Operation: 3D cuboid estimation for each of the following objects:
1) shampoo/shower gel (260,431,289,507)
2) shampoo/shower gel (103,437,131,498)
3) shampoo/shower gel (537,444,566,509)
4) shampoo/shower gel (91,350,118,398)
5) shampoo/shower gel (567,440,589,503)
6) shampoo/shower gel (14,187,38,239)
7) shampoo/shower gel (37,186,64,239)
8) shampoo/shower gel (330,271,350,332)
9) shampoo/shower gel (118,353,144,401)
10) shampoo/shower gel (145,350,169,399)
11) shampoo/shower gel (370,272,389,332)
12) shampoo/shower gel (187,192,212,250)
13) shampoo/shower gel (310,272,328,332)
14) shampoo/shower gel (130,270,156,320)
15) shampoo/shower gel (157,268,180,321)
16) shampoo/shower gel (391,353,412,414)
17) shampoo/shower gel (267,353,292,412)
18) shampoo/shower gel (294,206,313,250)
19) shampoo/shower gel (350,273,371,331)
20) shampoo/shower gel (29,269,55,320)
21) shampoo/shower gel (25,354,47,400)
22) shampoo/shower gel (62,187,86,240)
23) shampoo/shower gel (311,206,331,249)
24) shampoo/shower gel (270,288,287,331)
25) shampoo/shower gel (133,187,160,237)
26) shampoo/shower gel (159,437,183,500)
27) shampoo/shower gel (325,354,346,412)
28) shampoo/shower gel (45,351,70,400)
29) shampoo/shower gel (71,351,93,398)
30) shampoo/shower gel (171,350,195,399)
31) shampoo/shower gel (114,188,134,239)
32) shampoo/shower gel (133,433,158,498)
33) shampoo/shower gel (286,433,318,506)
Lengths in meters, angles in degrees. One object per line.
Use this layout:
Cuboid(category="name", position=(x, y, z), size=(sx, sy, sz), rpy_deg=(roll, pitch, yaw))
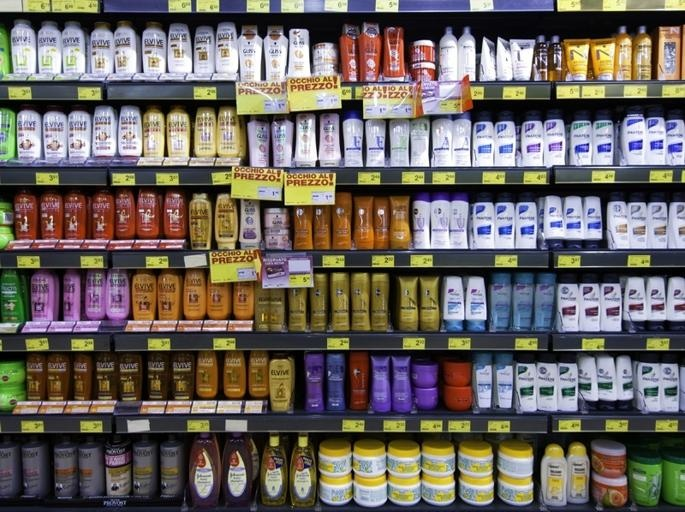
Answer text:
Cuboid(category="shampoo/shower gel", position=(-0.409, 1.249, 4.081), size=(0.191, 0.429, 0.151), rpy_deg=(-5, 6, -19))
Cuboid(category="shampoo/shower gel", position=(-1.343, 1.254, 4.094), size=(0.162, 0.351, 0.105), rpy_deg=(-5, 6, -17))
Cuboid(category="shampoo/shower gel", position=(1.251, 1.300, 4.074), size=(0.148, 0.353, 0.090), rpy_deg=(-2, 6, 12))
Cuboid(category="shampoo/shower gel", position=(-1.430, 0.717, 4.121), size=(0.153, 0.283, 0.070), rpy_deg=(-4, 6, -11))
Cuboid(category="shampoo/shower gel", position=(1.412, 1.291, 4.099), size=(0.135, 0.356, 0.095), rpy_deg=(-2, 6, 13))
Cuboid(category="shampoo/shower gel", position=(-1.919, -0.251, 4.124), size=(0.143, 0.302, 0.065), rpy_deg=(-3, 6, 2))
Cuboid(category="shampoo/shower gel", position=(-1.750, -0.249, 4.115), size=(0.137, 0.297, 0.067), rpy_deg=(-6, 6, -24))
Cuboid(category="shampoo/shower gel", position=(-0.014, 0.272, 4.114), size=(0.126, 0.349, 0.088), rpy_deg=(-3, 6, -2))
Cuboid(category="shampoo/shower gel", position=(-1.285, 0.722, 4.115), size=(0.143, 0.281, 0.080), rpy_deg=(-5, 6, -16))
Cuboid(category="shampoo/shower gel", position=(-1.116, 0.717, 4.137), size=(0.138, 0.285, 0.069), rpy_deg=(-4, 6, -11))
Cuboid(category="shampoo/shower gel", position=(0.232, 0.272, 4.131), size=(0.134, 0.345, 0.117), rpy_deg=(-5, 6, -20))
Cuboid(category="shampoo/shower gel", position=(-0.858, -0.212, 4.130), size=(0.153, 0.334, 0.191), rpy_deg=(-5, 6, -13))
Cuboid(category="shampoo/shower gel", position=(-0.143, 0.277, 4.109), size=(0.117, 0.339, 0.081), rpy_deg=(-4, 6, -5))
Cuboid(category="shampoo/shower gel", position=(-1.196, 0.233, 4.120), size=(0.153, 0.298, 0.057), rpy_deg=(-5, 6, -13))
Cuboid(category="shampoo/shower gel", position=(-1.047, 0.232, 4.128), size=(0.152, 0.299, 0.058), rpy_deg=(-5, 6, -16))
Cuboid(category="shampoo/shower gel", position=(0.357, 0.764, 4.135), size=(0.137, 0.333, 0.110), rpy_deg=(-4, 6, -5))
Cuboid(category="shampoo/shower gel", position=(-0.364, 0.760, 4.119), size=(0.169, 0.325, 0.145), rpy_deg=(-5, 6, -13))
Cuboid(category="shampoo/shower gel", position=(-0.238, -0.169, 4.125), size=(0.121, 0.252, 0.044), rpy_deg=(-4, 6, -4))
Cuboid(category="shampoo/shower gel", position=(0.106, 0.271, 4.120), size=(0.115, 0.344, 0.053), rpy_deg=(-3, 6, -1))
Cuboid(category="shampoo/shower gel", position=(-1.807, 0.235, 4.133), size=(0.159, 0.304, 0.064), rpy_deg=(-6, 6, -24))
Cuboid(category="shampoo/shower gel", position=(-1.840, 0.720, 4.107), size=(0.118, 0.280, 0.055), rpy_deg=(-3, 6, 4))
Cuboid(category="shampoo/shower gel", position=(-1.617, -0.249, 4.122), size=(0.144, 0.296, 0.068), rpy_deg=(-6, 6, -23))
Cuboid(category="shampoo/shower gel", position=(-0.125, -0.175, 4.139), size=(0.119, 0.258, 0.061), rpy_deg=(-4, 6, -2))
Cuboid(category="shampoo/shower gel", position=(-0.391, 0.318, 4.129), size=(0.094, 0.247, 0.103), rpy_deg=(-2, 6, 8))
Cuboid(category="shampoo/shower gel", position=(-1.175, -0.254, 4.128), size=(0.156, 0.300, 0.052), rpy_deg=(-5, 6, -18))
Cuboid(category="shampoo/shower gel", position=(-1.027, 1.273, 4.100), size=(0.134, 0.311, 0.112), rpy_deg=(-4, 6, -4))
Cuboid(category="shampoo/shower gel", position=(-0.044, 0.755, 4.142), size=(0.135, 0.335, 0.117), rpy_deg=(-4, 6, -6))
Cuboid(category="shampoo/shower gel", position=(-1.715, 0.720, 4.114), size=(0.155, 0.280, 0.069), rpy_deg=(-5, 6, -19))
Cuboid(category="shampoo/shower gel", position=(-1.564, 0.719, 4.112), size=(0.114, 0.279, 0.060), rpy_deg=(-5, 6, -17))
Cuboid(category="shampoo/shower gel", position=(-0.965, 0.716, 4.124), size=(0.130, 0.282, 0.059), rpy_deg=(-4, 6, -7))
Cuboid(category="shampoo/shower gel", position=(-1.315, -0.256, 4.132), size=(0.134, 0.309, 0.059), rpy_deg=(-6, 6, -22))
Cuboid(category="shampoo/shower gel", position=(-1.202, 1.260, 4.118), size=(0.157, 0.335, 0.144), rpy_deg=(-3, 6, -1))
Cuboid(category="shampoo/shower gel", position=(-0.242, 1.254, 4.090), size=(0.177, 0.428, 0.176), rpy_deg=(-4, 6, -4))
